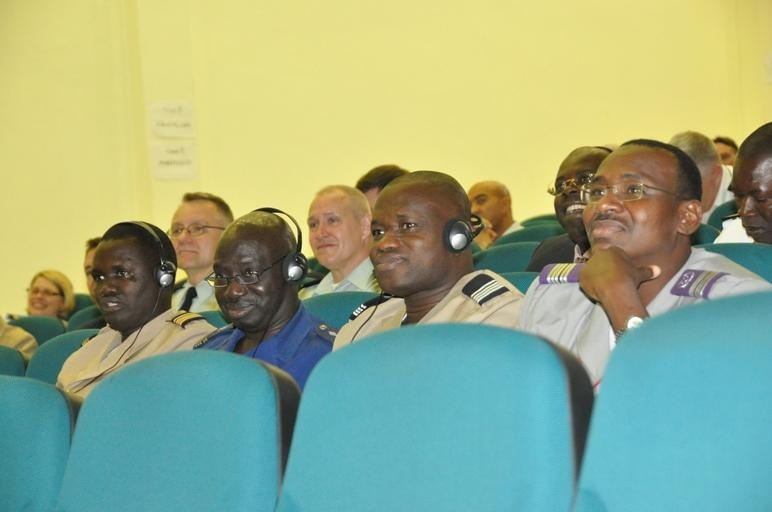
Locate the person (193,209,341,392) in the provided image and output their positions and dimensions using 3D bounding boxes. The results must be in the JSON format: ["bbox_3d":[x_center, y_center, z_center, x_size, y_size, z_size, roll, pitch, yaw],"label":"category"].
[{"bbox_3d":[-0.483,0.174,2.980,0.968,0.667,0.509,-2,-6,31],"label":"person"}]

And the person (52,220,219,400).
[{"bbox_3d":[-1.188,0.243,3.406,0.942,0.708,0.571,-13,-20,31],"label":"person"}]
